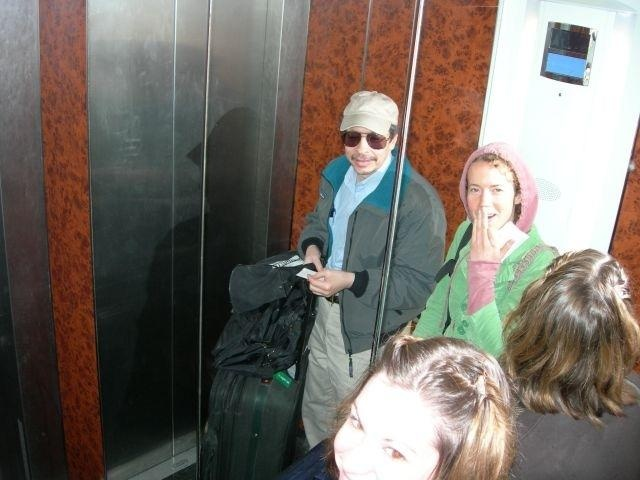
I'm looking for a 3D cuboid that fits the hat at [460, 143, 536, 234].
[{"bbox_3d":[0.437,-0.119,1.158,0.141,0.192,0.080,-3,11,28],"label":"hat"}]

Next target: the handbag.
[{"bbox_3d":[-0.194,0.274,1.962,0.367,0.491,0.220,12,2,14],"label":"handbag"}]

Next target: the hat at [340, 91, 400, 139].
[{"bbox_3d":[0.142,-0.354,1.391,0.108,0.076,0.142,12,33,19],"label":"hat"}]
